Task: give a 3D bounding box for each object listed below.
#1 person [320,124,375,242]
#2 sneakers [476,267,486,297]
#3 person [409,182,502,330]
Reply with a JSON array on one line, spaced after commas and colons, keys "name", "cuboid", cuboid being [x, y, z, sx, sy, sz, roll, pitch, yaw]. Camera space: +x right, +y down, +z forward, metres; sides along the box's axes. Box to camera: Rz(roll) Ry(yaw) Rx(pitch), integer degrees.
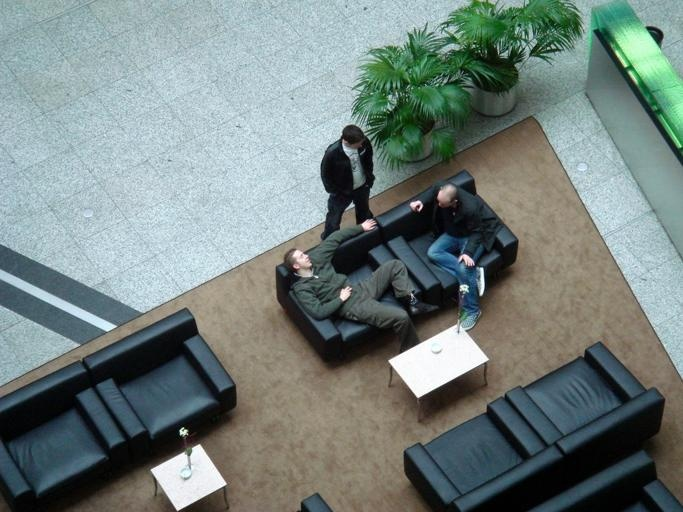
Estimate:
[{"name": "person", "cuboid": [0.100, -0.905, 8.984, 0.826, 0.508, 2.148, -20, -37, -13]}, {"name": "sneakers", "cuboid": [1.732, 0.336, 8.436, 0.095, 0.333, 0.128, -2, 5, 3]}, {"name": "person", "cuboid": [1.451, -0.227, 8.407, 1.064, 1.262, 1.852, -6, 44, 9]}]
